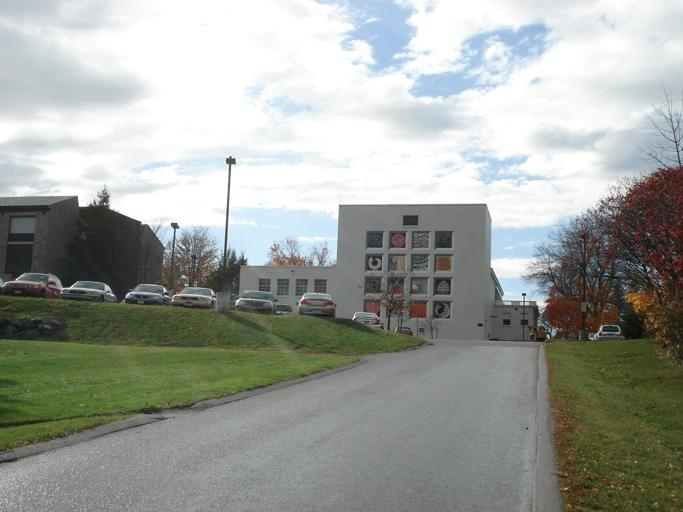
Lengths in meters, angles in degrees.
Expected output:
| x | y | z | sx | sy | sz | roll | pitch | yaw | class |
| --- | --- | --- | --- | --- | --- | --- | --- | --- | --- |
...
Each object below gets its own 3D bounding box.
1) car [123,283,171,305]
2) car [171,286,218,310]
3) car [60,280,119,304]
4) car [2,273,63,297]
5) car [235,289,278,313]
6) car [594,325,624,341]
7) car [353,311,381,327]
| x | y | z | sx | sy | sz | roll | pitch | yaw | class |
| --- | --- | --- | --- | --- | --- | --- | --- | --- | --- |
| -12.228 | 2.402 | 34.818 | 2.430 | 1.132 | 3.374 | 3 | -3 | -24 | car |
| -9.336 | 2.632 | 35.078 | 2.530 | 1.128 | 2.631 | 3 | -3 | -18 | car |
| -14.914 | 2.126 | 33.128 | 2.086 | 1.215 | 3.126 | 0 | -3 | 30 | car |
| -17.798 | 1.676 | 32.058 | 2.978 | 1.483 | 1.906 | 4 | -3 | -44 | car |
| -5.389 | 2.915 | 35.318 | 2.243 | 1.118 | 2.516 | 2 | -3 | -4 | car |
| 20.858 | 5.940 | 43.301 | 1.634 | 1.598 | 2.980 | 0 | 1 | 16 | car |
| 2.005 | 4.997 | 44.796 | 1.778 | 0.678 | 2.009 | 1 | -3 | 12 | car |
